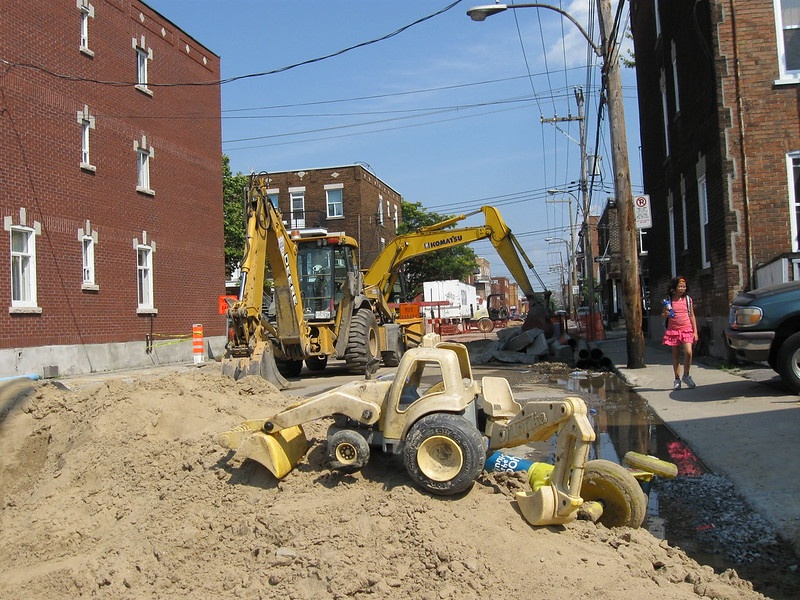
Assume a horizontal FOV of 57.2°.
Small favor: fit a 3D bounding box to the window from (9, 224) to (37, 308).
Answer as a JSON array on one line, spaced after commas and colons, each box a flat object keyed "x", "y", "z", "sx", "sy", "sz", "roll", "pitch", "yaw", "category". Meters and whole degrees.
[{"x": -9.640, "y": -0.828, "z": 18.784, "sx": 0.274, "sy": 2.196, "sz": 0.790, "roll": -6, "pitch": 0, "yaw": 21, "category": "window"}]

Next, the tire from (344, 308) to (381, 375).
[{"x": -0.948, "y": 0.992, "z": 17.594, "sx": 0.391, "sy": 1.483, "sz": 1.336, "roll": -4, "pitch": 4, "yaw": 15, "category": "tire"}]

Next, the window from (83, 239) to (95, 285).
[{"x": -8.912, "y": -1.145, "z": 21.019, "sx": 0.343, "sy": 1.389, "sz": 0.210, "roll": -6, "pitch": 0, "yaw": -22, "category": "window"}]

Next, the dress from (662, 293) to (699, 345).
[{"x": 4.887, "y": 0.242, "z": 12.848, "sx": 0.579, "sy": 1.162, "sz": 0.633, "roll": -7, "pitch": 23, "yaw": 6, "category": "dress"}]

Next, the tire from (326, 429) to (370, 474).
[{"x": -0.540, "y": 1.594, "z": 7.752, "sx": 0.304, "sy": 0.344, "sz": 0.113, "roll": 28, "pitch": 7, "yaw": 2, "category": "tire"}]

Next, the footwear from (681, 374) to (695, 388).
[{"x": 5.077, "y": 1.438, "z": 12.991, "sx": 0.122, "sy": 0.144, "sz": 0.307, "roll": -7, "pitch": -8, "yaw": 8, "category": "footwear"}]

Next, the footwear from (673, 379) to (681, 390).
[{"x": 4.856, "y": 1.471, "z": 12.932, "sx": 0.140, "sy": 0.183, "sz": 0.393, "roll": -7, "pitch": 0, "yaw": 19, "category": "footwear"}]
